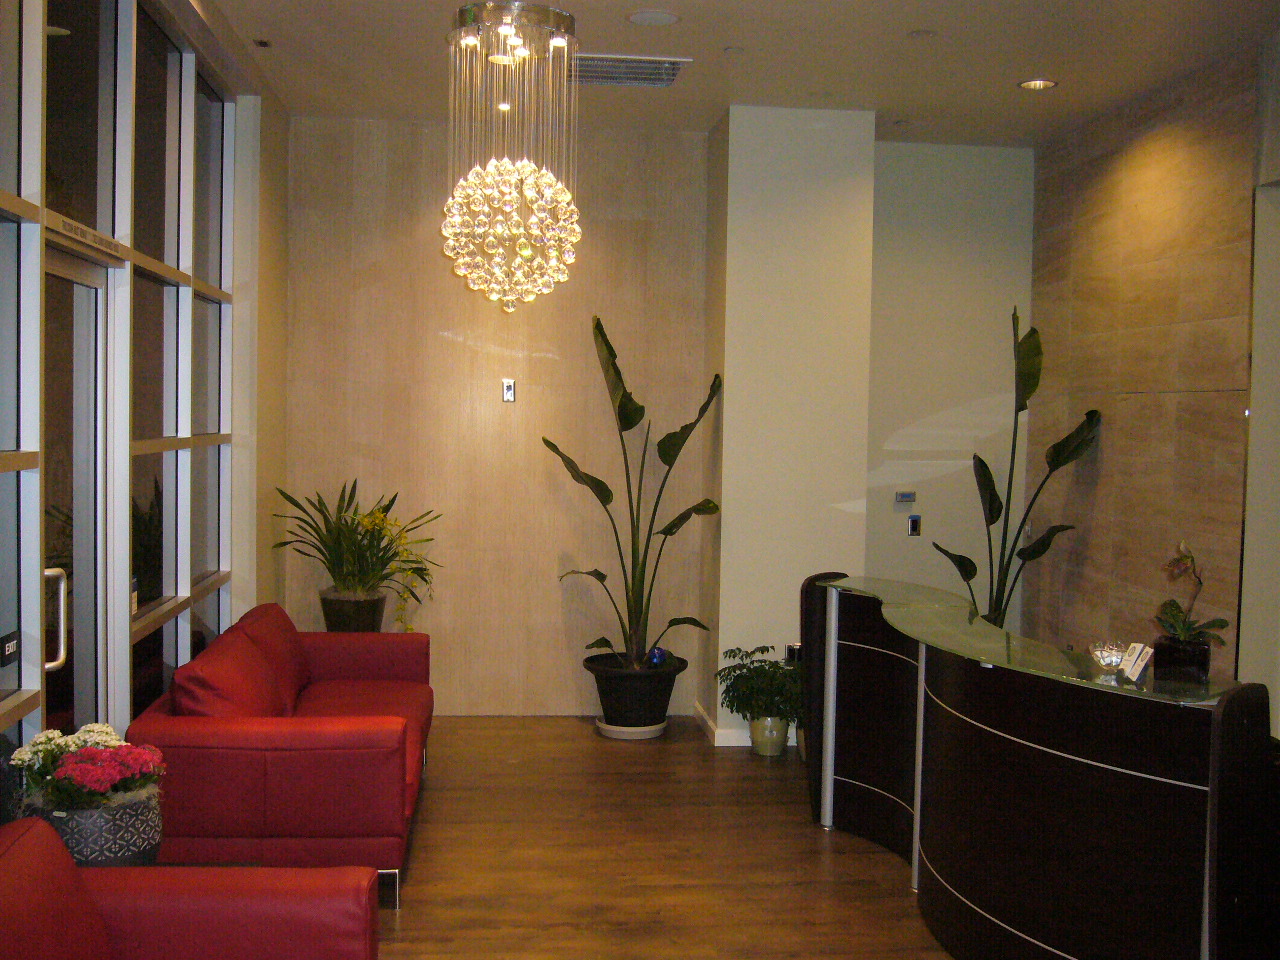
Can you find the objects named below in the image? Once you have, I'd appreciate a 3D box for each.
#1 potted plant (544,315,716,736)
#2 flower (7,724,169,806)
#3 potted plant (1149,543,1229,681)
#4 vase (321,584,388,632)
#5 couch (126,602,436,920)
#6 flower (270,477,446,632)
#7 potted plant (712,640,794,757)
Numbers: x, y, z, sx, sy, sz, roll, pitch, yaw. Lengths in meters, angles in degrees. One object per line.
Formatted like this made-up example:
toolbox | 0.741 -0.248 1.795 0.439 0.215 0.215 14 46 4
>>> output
potted plant | -0.040 0.296 6.808 1.047 2.669 0.798 0 6 -6
flower | -1.912 0.986 3.671 0.389 0.216 0.345 4 7 23
potted plant | 2.854 0.678 5.530 0.314 0.656 0.565 1 6 2
vase | -1.758 0.770 6.481 0.263 0.231 0.273 1 0 -4
couch | -1.660 1.187 5.288 1.097 0.940 2.072 2 2 -8
flower | -1.690 0.600 6.759 0.936 1.184 1.045 -2 -3 24
potted plant | 0.752 1.316 6.387 0.528 0.650 0.576 0 -6 -4
